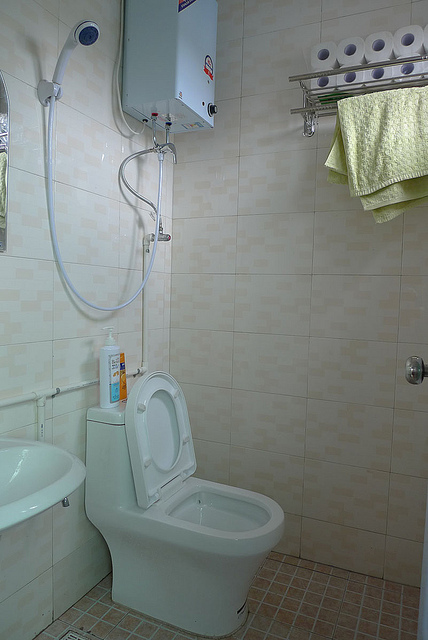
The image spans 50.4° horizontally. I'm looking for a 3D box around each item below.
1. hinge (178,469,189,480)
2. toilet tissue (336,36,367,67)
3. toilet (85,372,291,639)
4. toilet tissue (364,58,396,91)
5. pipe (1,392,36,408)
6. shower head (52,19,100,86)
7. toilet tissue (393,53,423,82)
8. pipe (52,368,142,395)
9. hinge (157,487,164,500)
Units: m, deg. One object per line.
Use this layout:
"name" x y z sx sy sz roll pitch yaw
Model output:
"hinge" -0.115 0.567 1.661 0.037 0.017 0.062 2 -1 3
"toilet tissue" 0.460 -0.910 1.543 0.100 0.093 0.044 2 1 19
"toilet" -0.034 0.578 1.869 0.754 1.197 0.519 2 4 27
"toilet tissue" 0.533 -0.800 1.480 0.105 0.107 0.079 2 1 35
"pipe" -0.522 0.213 1.224 0.016 0.024 0.133 -5 -2 11
"shower head" -0.381 -0.702 1.207 0.081 0.068 0.221 -19 -24 -45
"toilet tissue" 0.620 -0.813 1.471 0.073 0.062 0.087 -4 -1 7
"pipe" -0.399 0.212 1.597 0.034 0.032 0.516 2 1 21
"hinge" -0.175 0.575 1.495 0.006 0.032 0.027 -6 -5 4
